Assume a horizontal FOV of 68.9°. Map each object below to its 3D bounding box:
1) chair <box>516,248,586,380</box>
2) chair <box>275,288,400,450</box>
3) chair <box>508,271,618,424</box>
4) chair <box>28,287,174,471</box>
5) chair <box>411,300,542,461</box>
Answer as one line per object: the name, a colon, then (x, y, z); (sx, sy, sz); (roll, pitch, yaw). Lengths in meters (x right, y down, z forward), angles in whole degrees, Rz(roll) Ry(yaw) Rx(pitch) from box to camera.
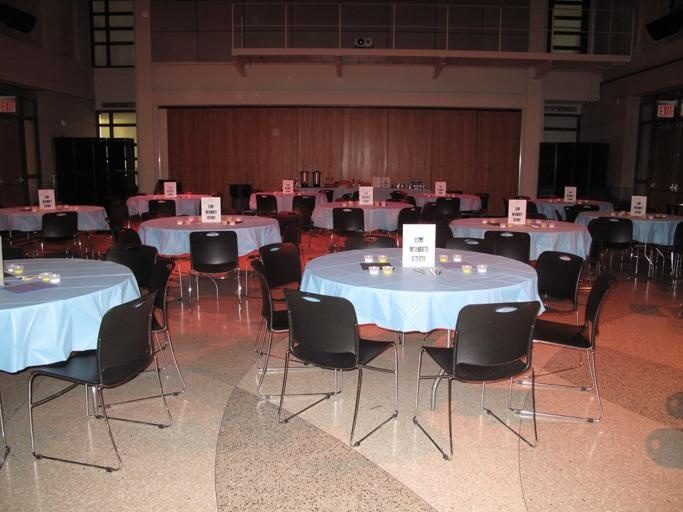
chair: (1.716, 0.409, 4.253); (0.620, 0.802, 0.618); (3, 14, 38)
chair: (-0.008, 0.689, 3.478); (0.901, 1.024, 0.895); (-5, 11, -20)
chair: (1.646, 0.661, 3.850); (0.836, 0.956, 0.809); (-7, 8, -34)
chair: (-1.538, 0.758, 3.237); (0.885, 1.008, 0.888); (0, 8, -32)
chair: (0.923, 0.876, 3.381); (0.766, 1.111, 0.752); (-3, 16, -9)
